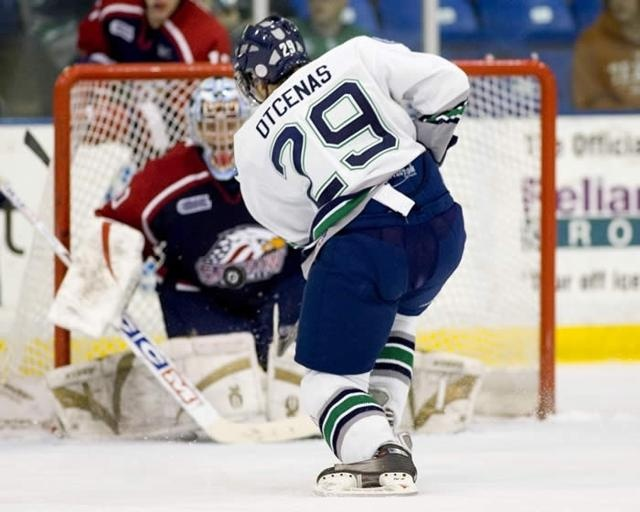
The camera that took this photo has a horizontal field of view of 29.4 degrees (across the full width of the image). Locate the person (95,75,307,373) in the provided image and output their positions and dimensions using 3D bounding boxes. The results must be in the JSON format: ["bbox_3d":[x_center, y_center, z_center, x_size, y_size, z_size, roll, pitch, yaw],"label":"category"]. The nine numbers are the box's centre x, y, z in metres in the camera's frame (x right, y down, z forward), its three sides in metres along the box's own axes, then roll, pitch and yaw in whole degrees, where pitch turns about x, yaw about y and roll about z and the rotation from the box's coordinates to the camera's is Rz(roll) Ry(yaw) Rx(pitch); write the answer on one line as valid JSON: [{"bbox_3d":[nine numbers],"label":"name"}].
[{"bbox_3d":[-0.452,-0.071,4.748,0.876,1.103,0.608,-13,16,-22],"label":"person"}]

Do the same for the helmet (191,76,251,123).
[{"bbox_3d":[-0.396,-0.638,4.948,0.201,0.251,0.234,-1,4,-2],"label":"helmet"}]

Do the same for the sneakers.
[{"bbox_3d":[0.163,0.704,4.021,0.382,0.167,0.129,0,-19,10],"label":"sneakers"}]

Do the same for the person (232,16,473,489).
[{"bbox_3d":[0.098,-0.016,4.072,0.794,1.541,0.559,0,9,6],"label":"person"}]
